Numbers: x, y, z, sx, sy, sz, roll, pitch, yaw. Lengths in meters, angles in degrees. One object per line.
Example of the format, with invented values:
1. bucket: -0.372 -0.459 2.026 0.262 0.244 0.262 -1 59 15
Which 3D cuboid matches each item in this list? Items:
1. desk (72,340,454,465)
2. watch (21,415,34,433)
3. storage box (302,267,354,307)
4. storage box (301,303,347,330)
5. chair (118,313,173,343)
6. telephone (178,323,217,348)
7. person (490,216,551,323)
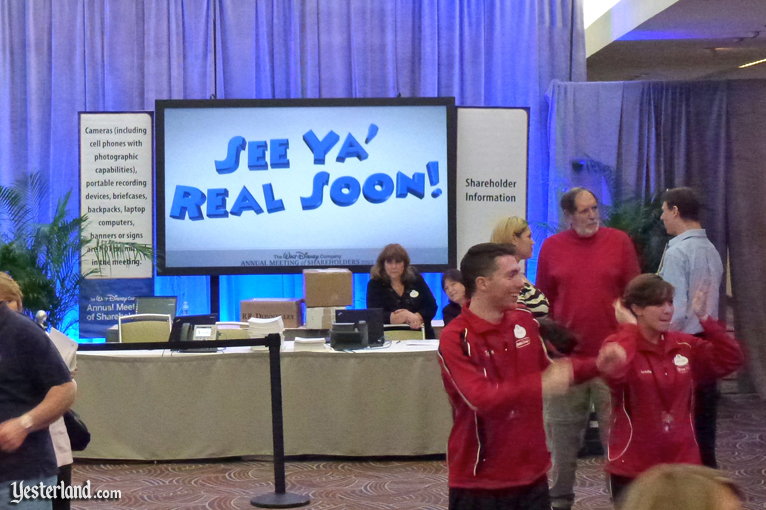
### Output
1. desk: -1.105 1.097 6.412 2.371 0.550 1.374 -1 0 -3
2. watch: -1.907 0.905 3.860 0.061 0.080 0.021 -7 1 -31
3. storage box: -0.546 0.315 7.207 0.397 0.279 0.393 0 -3 -2
4. storage box: -0.618 0.611 7.149 0.264 0.165 0.260 -2 4 6
5. chair: -2.194 0.659 6.696 0.513 0.272 0.359 0 -4 -4
6. telephone: -1.610 0.719 6.272 0.306 0.278 0.178 -2 -17 4
7. person: 0.963 0.044 5.142 0.407 0.715 0.791 0 7 -2
